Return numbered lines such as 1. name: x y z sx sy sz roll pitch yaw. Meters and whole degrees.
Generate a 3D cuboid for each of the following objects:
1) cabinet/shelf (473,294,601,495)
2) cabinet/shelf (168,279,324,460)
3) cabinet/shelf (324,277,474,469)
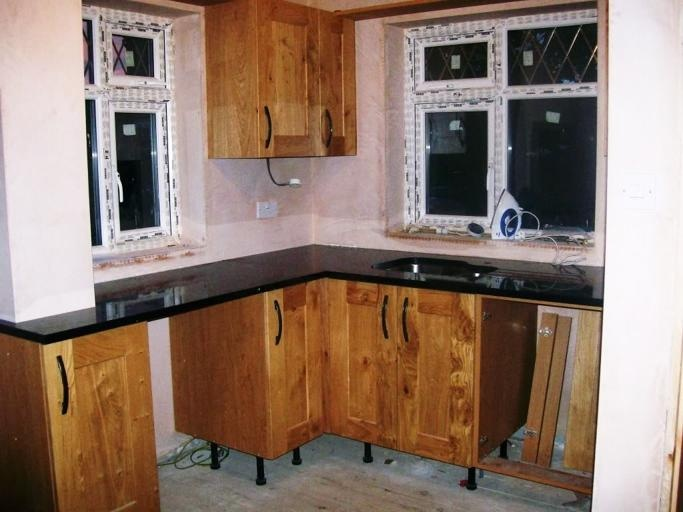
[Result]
1. cabinet/shelf: 1.026 0.658 3.103 0.554 1.004 0.698 4 14 23
2. cabinet/shelf: -0.509 0.563 3.665 1.013 1.326 0.649 2 6 29
3. cabinet/shelf: 0.312 0.561 3.083 0.915 1.083 0.538 3 6 30
